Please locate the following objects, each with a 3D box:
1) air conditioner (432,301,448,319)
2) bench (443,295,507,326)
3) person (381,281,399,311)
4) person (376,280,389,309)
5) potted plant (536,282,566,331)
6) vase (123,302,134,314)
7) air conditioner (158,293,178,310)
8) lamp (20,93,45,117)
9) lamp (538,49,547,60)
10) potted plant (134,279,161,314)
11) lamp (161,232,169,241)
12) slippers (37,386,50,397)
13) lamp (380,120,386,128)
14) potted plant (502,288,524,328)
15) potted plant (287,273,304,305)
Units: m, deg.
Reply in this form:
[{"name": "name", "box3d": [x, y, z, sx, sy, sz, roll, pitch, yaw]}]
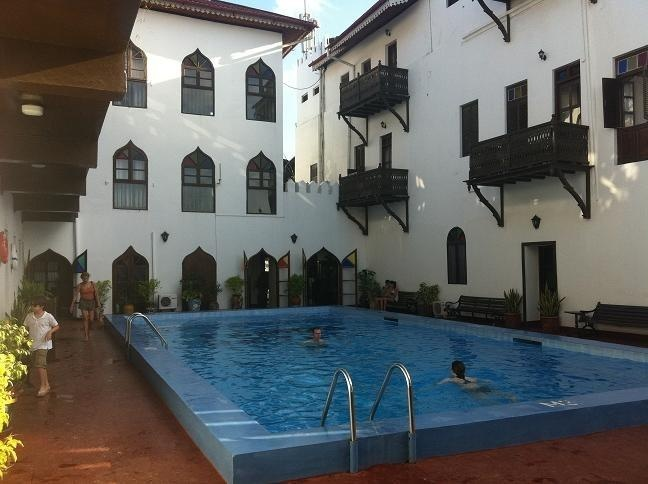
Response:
[{"name": "air conditioner", "box3d": [4.177, 2.480, 19.967, 0.477, 0.675, 0.430, 1, -3, -25]}, {"name": "bench", "box3d": [5.150, 2.273, 18.581, 0.797, 0.856, 2.673, 0, 1, -23]}, {"name": "person", "box3d": [2.738, 2.223, 22.641, 0.664, 1.193, 0.644, 0, 1, 8]}, {"name": "person", "box3d": [2.493, 2.288, 22.876, 0.824, 1.158, 0.920, -1, -3, 15]}, {"name": "potted plant", "box3d": [6.573, 1.938, 15.926, 0.647, 1.189, 1.475, 0, 1, 24]}, {"name": "vase", "box3d": [-7.301, 2.482, 20.630, 0.367, 0.409, 0.336, 3, 3, 44]}, {"name": "air conditioner", "box3d": [-5.894, 2.223, 20.911, 0.725, 0.747, 0.469, 1, -4, -30]}, {"name": "lamp", "box3d": [-4.315, -2.059, 8.154, 0.257, 0.287, 0.277, 1, -1, -22]}, {"name": "lamp", "box3d": [6.545, -5.674, 16.574, 0.104, 0.378, 0.291, 0, 1, -28]}, {"name": "potted plant", "box3d": [-6.618, 2.018, 20.704, 0.847, 1.271, 0.930, 0, 1, -21]}, {"name": "lamp", "box3d": [-6.129, -0.191, 21.304, 0.298, 0.423, 0.285, 1, -4, -25]}, {"name": "slippers", "box3d": [-4.770, 2.557, 9.409, 0.149, 0.117, 0.363, 0, 0, -11]}, {"name": "lamp", "box3d": [2.584, -5.130, 23.853, 0.092, 0.319, 0.193, -7, 11, -44]}, {"name": "potted plant", "box3d": [5.851, 2.054, 17.025, 0.544, 1.058, 1.184, 0, 1, 20]}, {"name": "potted plant", "box3d": [-1.144, 2.028, 22.787, 0.609, 1.258, 0.427, 0, 1, 4]}]
